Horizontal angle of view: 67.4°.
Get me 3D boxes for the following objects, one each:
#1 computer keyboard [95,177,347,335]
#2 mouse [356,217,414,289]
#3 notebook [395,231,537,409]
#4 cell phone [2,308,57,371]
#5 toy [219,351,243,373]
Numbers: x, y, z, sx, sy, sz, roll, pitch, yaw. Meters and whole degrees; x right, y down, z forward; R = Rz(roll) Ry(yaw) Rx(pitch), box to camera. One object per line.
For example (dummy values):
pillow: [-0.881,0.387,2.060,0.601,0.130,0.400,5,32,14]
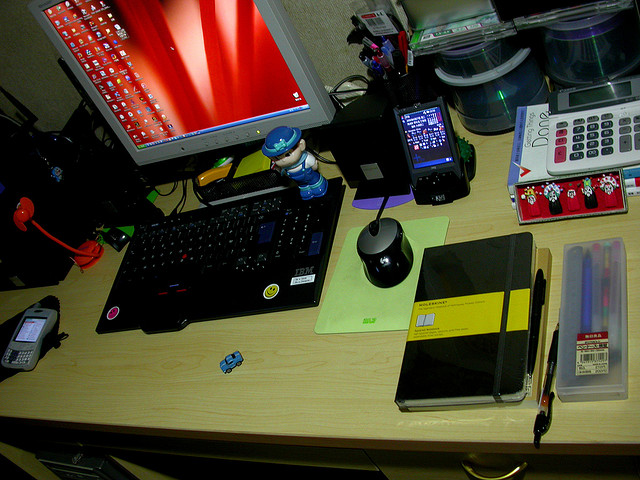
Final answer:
computer keyboard: [-0.225,0.042,1.039,0.554,0.055,0.301,-7,49,26]
mouse: [0.119,0.011,0.890,0.084,0.099,0.132,-22,24,23]
notebook: [0.225,0.115,0.723,0.177,0.078,0.286,0,45,27]
cell phone: [-0.644,0.225,1.104,0.086,0.037,0.141,3,61,24]
toy: [-0.159,0.219,0.860,0.041,0.013,0.027,-31,57,0]
